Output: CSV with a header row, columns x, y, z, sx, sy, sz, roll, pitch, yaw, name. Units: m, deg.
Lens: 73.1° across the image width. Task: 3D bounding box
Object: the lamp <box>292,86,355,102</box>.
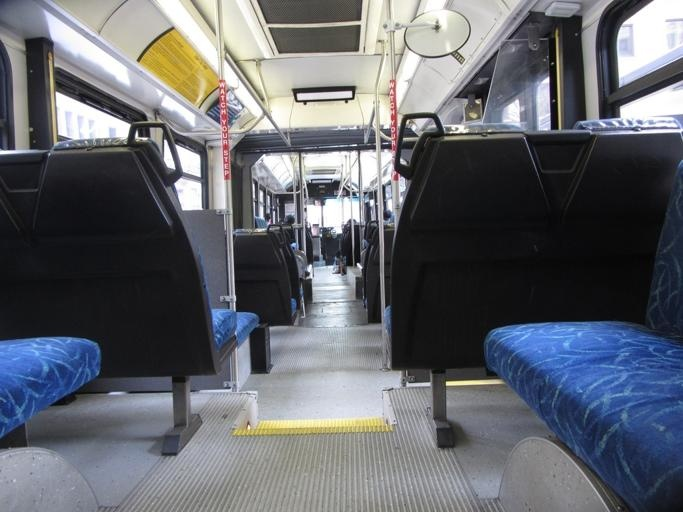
x,y,z,sx,sy,sz,roll,pitch,yaw,name
-0.354,-3.195,9.051,1.152,0.262,0.807,-4,8,-4,lamp
